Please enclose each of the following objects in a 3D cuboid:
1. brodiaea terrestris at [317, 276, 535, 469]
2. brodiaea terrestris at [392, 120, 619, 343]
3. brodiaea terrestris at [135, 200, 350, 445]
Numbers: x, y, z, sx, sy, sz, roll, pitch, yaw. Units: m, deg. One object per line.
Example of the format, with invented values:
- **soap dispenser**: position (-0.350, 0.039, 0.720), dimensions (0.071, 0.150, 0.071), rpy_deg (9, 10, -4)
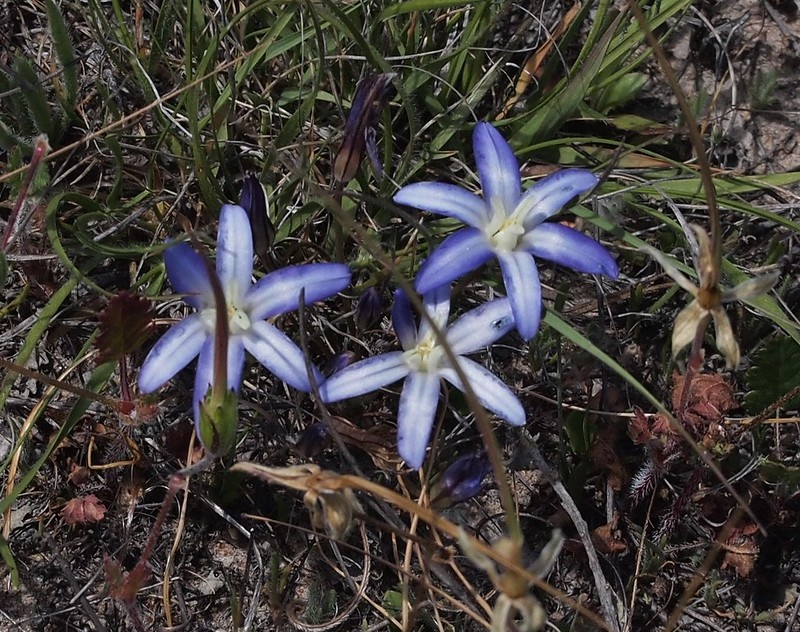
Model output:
- **brodiaea terrestris**: position (0.142, 0.196, 2.412), dimensions (0.606, 0.267, 0.689), rpy_deg (23, 50, 33)
- **brodiaea terrestris**: position (0.308, -0.293, 2.430), dimensions (0.619, 0.215, 0.631), rpy_deg (42, 73, 9)
- **brodiaea terrestris**: position (-0.456, -0.025, 2.264), dimensions (0.666, 0.692, 0.238), rpy_deg (45, 95, 7)
